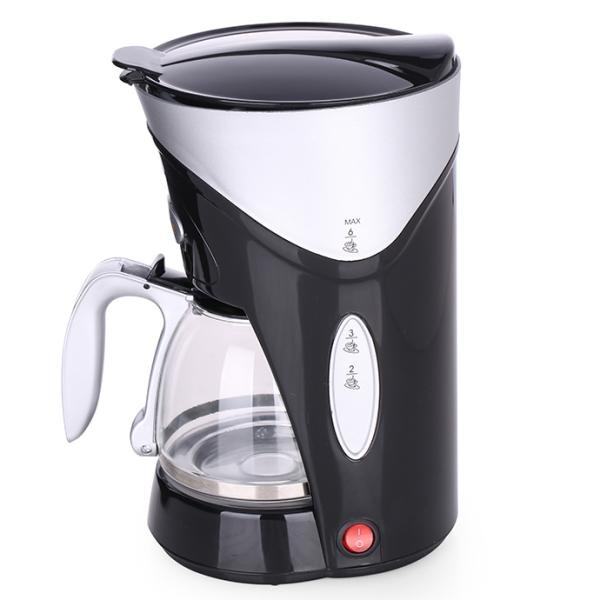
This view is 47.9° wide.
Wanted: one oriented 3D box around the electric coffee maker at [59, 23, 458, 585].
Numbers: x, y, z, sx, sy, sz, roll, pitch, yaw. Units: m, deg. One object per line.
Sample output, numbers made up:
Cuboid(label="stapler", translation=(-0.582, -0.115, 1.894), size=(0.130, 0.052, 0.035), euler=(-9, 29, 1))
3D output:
Cuboid(label="electric coffee maker", translation=(-0.051, 0.015, 0.861), size=(0.486, 0.613, 0.360), euler=(-3, 19, -9))
